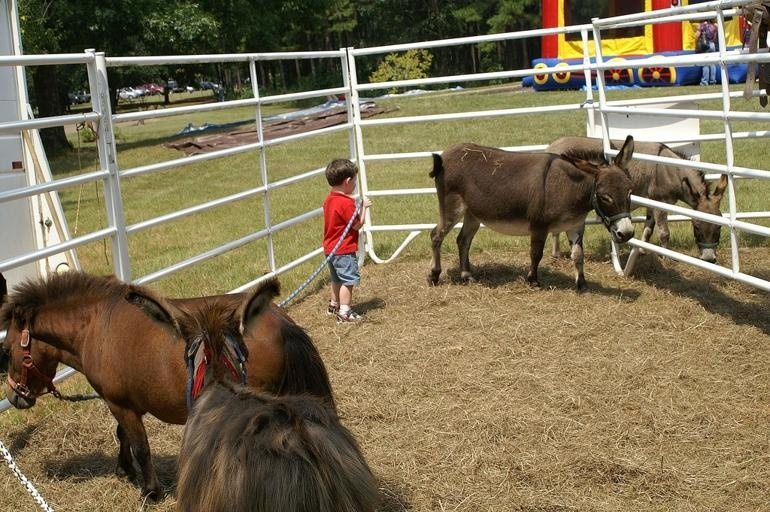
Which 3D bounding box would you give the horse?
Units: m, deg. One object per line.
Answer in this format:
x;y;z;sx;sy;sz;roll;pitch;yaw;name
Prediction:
-1.692;0.998;5.389;1.497;1.577;3.055;4;-4;-30;horse

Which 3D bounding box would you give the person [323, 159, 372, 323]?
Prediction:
-0.454;-0.182;8.099;0.430;1.719;0.555;-2;6;-35;person

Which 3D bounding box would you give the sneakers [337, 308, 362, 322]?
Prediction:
-0.406;0.646;8.138;0.260;0.142;0.124;-1;11;-6;sneakers

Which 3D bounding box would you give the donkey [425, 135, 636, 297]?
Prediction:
1.702;-0.472;8.674;2.325;1.862;0.769;6;17;26;donkey

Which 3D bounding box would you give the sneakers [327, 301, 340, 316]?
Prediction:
-0.584;0.583;8.264;0.128;0.156;0.331;1;-1;-2;sneakers
